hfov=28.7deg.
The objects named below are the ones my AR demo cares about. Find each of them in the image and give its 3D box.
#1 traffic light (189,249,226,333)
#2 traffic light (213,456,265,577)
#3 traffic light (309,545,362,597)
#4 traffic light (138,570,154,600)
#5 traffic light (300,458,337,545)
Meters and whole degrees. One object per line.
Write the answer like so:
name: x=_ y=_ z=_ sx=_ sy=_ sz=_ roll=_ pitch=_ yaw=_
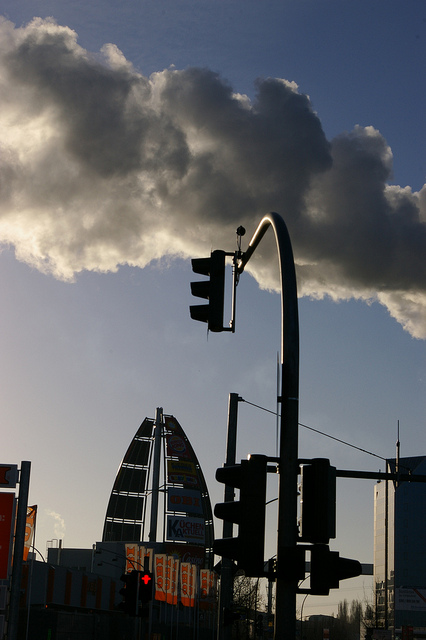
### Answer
traffic light: x=-0.080 y=-0.347 z=9.999 sx=0.433 sy=1.052 sz=0.380 roll=-1 pitch=-16 yaw=13
traffic light: x=0.241 y=1.895 z=8.054 sx=0.495 sy=1.139 sz=0.456 roll=2 pitch=-16 yaw=2
traffic light: x=1.148 y=2.409 z=7.962 sx=0.530 sy=0.459 sz=0.275 roll=5 pitch=-16 yaw=-6
traffic light: x=-2.091 y=8.066 z=25.126 sx=0.389 sy=0.831 sz=1.070 roll=3 pitch=-16 yaw=1
traffic light: x=1.007 y=1.773 z=8.108 sx=0.341 sy=0.817 sz=0.398 roll=2 pitch=-16 yaw=4
